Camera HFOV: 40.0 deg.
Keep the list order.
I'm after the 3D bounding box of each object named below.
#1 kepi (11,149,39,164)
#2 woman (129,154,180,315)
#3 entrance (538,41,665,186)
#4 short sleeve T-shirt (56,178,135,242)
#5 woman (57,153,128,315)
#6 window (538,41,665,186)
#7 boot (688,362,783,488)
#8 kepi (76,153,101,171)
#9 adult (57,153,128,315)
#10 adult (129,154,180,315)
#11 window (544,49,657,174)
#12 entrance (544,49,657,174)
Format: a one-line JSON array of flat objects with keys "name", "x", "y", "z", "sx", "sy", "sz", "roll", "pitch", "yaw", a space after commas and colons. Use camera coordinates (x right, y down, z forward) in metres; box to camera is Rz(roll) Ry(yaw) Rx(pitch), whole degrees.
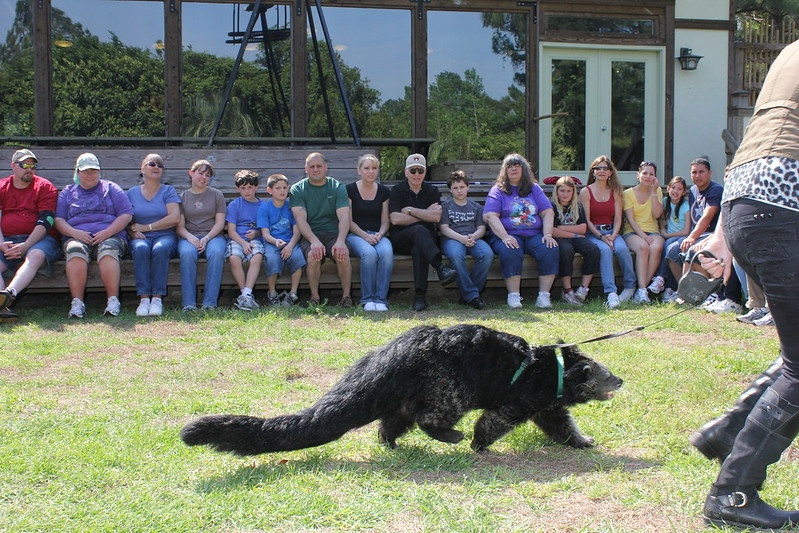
[{"name": "kepi", "x": -4.916, "y": -1.418, "z": 14.299, "sx": 0.270, "sy": 0.187, "sz": 0.379, "roll": 1, "pitch": 0, "yaw": -42}, {"name": "woman", "x": -3.220, "y": -0.296, "z": 14.531, "sx": 0.671, "sy": 1.799, "sz": 0.970, "roll": -1, "pitch": 6, "yaw": -14}, {"name": "entrance", "x": 3.350, "y": -2.667, "z": 18.581, "sx": 2.916, "sy": 3.234, "sz": 0.396, "roll": 0, "pitch": 5, "yaw": -14}, {"name": "short sleeve T-shirt", "x": -4.096, "y": -0.767, "z": 14.685, "sx": 1.054, "sy": 0.798, "sz": 0.561, "roll": -3, "pitch": -7, "yaw": -6}, {"name": "woman", "x": -4.018, "y": -0.413, "z": 14.427, "sx": 0.982, "sy": 2.087, "sz": 0.809, "roll": 0, "pitch": 6, "yaw": -8}, {"name": "window", "x": 3.350, "y": -2.667, "z": 18.581, "sx": 2.916, "sy": 3.234, "sz": 0.396, "roll": 0, "pitch": 5, "yaw": -14}, {"name": "boot", "x": 3.188, "y": 1.573, "z": 10.448, "sx": 0.335, "sy": 1.026, "sz": 0.718, "roll": 46, "pitch": -6, "yaw": 32}, {"name": "kepi", "x": -4.126, "y": -1.360, "z": 14.538, "sx": 0.259, "sy": 0.194, "sz": 0.348, "roll": -1, "pitch": -1, "yaw": -23}, {"name": "adult", "x": -4.018, "y": -0.413, "z": 14.427, "sx": 0.982, "sy": 2.087, "sz": 0.809, "roll": 0, "pitch": 6, "yaw": -8}, {"name": "adult", "x": -3.225, "y": -0.300, "z": 14.535, "sx": 0.672, "sy": 1.791, "sz": 0.954, "roll": -1, "pitch": 6, "yaw": -13}, {"name": "window", "x": 3.362, "y": -2.727, "z": 18.756, "sx": 2.582, "sy": 2.780, "sz": 0.409, "roll": 0, "pitch": 4, "yaw": -15}, {"name": "entrance", "x": 3.362, "y": -2.727, "z": 18.756, "sx": 2.582, "sy": 2.780, "sz": 0.409, "roll": 0, "pitch": 4, "yaw": -15}]
